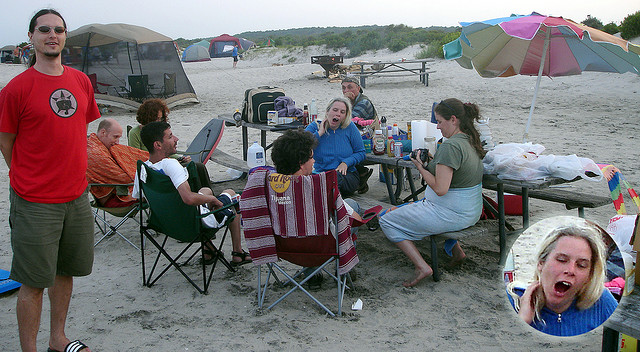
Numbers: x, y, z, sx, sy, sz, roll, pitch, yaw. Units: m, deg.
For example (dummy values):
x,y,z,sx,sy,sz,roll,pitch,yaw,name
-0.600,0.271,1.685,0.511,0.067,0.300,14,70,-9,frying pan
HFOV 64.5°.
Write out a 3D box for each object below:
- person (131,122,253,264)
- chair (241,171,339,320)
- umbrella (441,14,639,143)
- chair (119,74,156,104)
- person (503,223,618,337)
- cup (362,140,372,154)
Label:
x,y,z,sx,sy,sz,roll,pitch,yaw,name
-1.463,0.232,5.859,1.060,1.770,0.775,8,22,32,person
-0.276,0.648,5.505,0.916,1.582,0.939,-3,18,1,chair
3.471,-1.976,8.141,2.839,1.289,1.522,6,19,29,umbrella
-5.564,-2.774,15.621,0.823,0.871,0.668,-8,18,-16,chair
1.854,0.782,3.809,0.785,0.837,0.295,-5,18,-7,person
0.662,-0.435,6.912,0.187,0.172,0.168,-1,6,-7,cup
